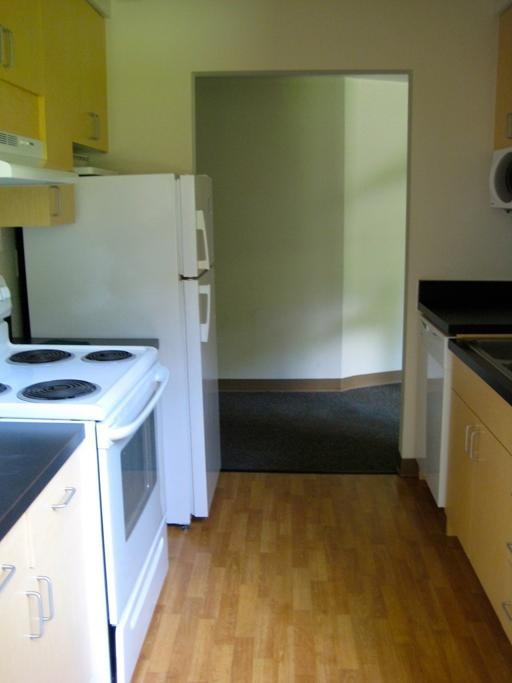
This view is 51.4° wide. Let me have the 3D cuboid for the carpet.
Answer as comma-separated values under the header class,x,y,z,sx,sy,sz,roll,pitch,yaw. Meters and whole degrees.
class,x,y,z,sx,sy,sz,roll,pitch,yaw
carpet,0.383,0.570,3.637,1.322,0.087,1.461,-1,10,4
